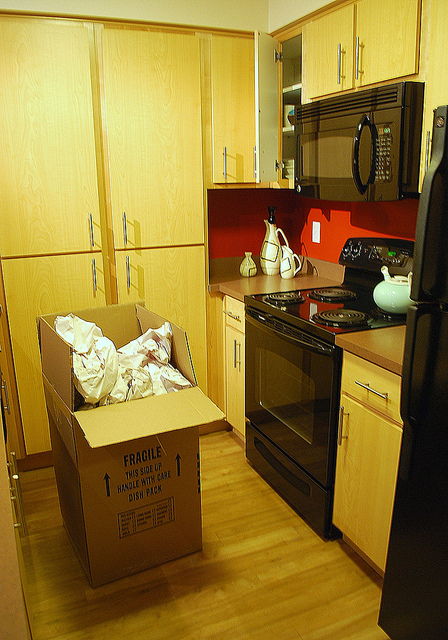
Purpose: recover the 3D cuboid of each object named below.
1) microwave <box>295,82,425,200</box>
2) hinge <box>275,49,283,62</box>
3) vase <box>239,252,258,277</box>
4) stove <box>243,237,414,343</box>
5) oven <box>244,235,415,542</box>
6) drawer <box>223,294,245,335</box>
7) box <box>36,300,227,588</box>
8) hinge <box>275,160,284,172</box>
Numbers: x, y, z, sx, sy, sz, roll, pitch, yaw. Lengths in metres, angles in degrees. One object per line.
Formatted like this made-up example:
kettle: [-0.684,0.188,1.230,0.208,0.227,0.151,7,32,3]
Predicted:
microwave: [0.540,-0.720,1.883,0.319,0.411,0.586,-21,25,-35]
hinge: [0.281,-1.368,2.327,0.033,0.074,0.075,7,53,12]
vase: [0.135,-0.342,2.761,0.114,0.194,0.128,-3,16,-7]
stove: [0.511,-0.120,1.997,0.499,0.259,0.585,-9,20,-27]
oven: [0.489,0.267,2.043,0.671,1.268,0.710,-11,20,-41]
drawer: [0.058,-0.036,2.420,0.138,0.177,0.233,-1,16,-19]
box: [-0.371,0.423,1.611,0.366,0.827,0.697,-9,19,-27]
hinge: [0.302,-0.843,2.458,0.045,0.055,0.013,-1,-4,-5]
